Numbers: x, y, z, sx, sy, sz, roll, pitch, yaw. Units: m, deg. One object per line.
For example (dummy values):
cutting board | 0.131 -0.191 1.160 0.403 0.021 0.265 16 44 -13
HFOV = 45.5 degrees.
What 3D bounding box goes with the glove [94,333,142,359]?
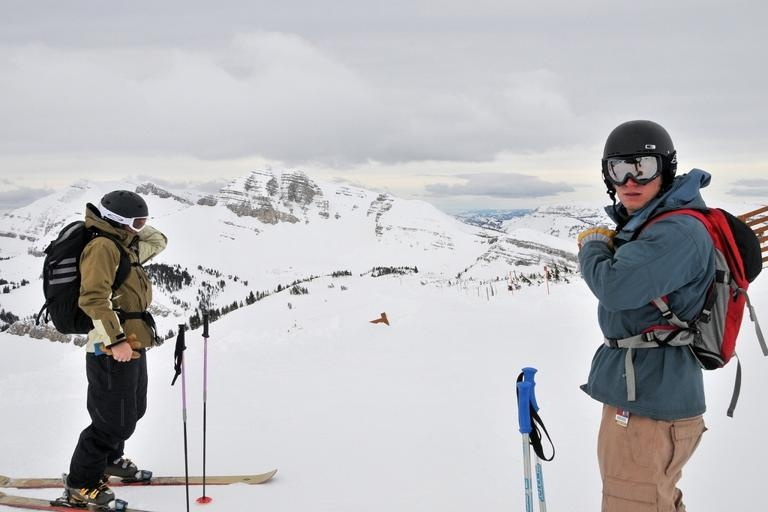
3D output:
glove | -4.715 1.649 16.374 0.584 0.325 0.439 -3 -6 -6
